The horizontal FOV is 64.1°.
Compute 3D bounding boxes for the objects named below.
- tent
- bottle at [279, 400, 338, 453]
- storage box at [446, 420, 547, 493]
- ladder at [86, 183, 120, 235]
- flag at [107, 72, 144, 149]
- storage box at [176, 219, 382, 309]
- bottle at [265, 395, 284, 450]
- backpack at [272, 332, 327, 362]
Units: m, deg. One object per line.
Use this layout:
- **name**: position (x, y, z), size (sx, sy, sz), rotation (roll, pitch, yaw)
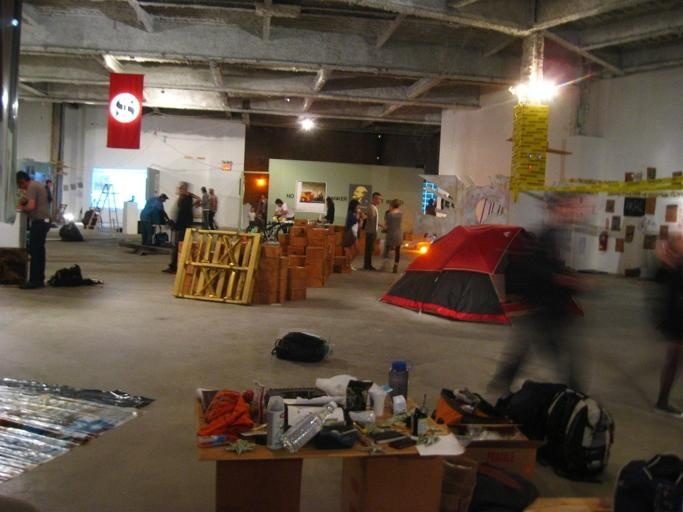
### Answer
- **tent**: position (1.730, 0.278, 7.809), size (1.688, 0.808, 1.749), rotation (-3, 8, -23)
- **bottle**: position (-0.186, 0.967, 3.056), size (0.087, 0.093, 0.345), rotation (28, 42, 25)
- **storage box**: position (1.001, 1.266, 3.509), size (0.512, 0.227, 0.352), rotation (6, 0, -25)
- **ladder**: position (-9.583, -1.992, 22.141), size (1.180, 1.892, 0.839), rotation (1, 5, -23)
- **flag**: position (-4.312, -2.921, 10.856), size (0.621, 1.563, 0.900), rotation (1, 5, -24)
- **storage box**: position (-1.227, 0.063, 9.719), size (1.881, 1.119, 3.336), rotation (5, 5, 17)
- **bottle**: position (-0.362, 0.911, 3.037), size (0.098, 0.267, 0.163), rotation (2, 5, -6)
- **backpack**: position (-0.400, 0.919, 5.465), size (0.374, 0.151, 0.296), rotation (3, 1, 8)
